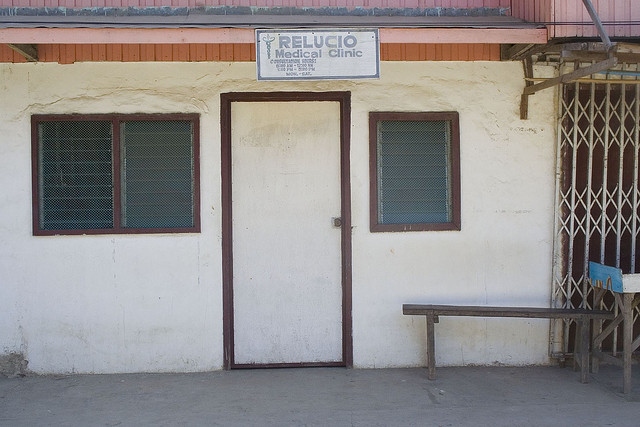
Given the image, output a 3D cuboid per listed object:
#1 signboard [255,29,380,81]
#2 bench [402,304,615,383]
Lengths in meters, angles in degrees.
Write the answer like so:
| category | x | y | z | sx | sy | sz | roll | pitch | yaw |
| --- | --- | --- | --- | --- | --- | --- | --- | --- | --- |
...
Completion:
| category | x | y | z | sx | sy | sz | roll | pitch | yaw |
| --- | --- | --- | --- | --- | --- | --- | --- | --- | --- |
| signboard | -0.022 | -1.883 | 11.228 | 1.612 | 0.611 | 0.024 | 4 | 7 | 24 |
| bench | 2.392 | 1.632 | 11.888 | 2.599 | 0.984 | 0.493 | -1 | -3 | 4 |
